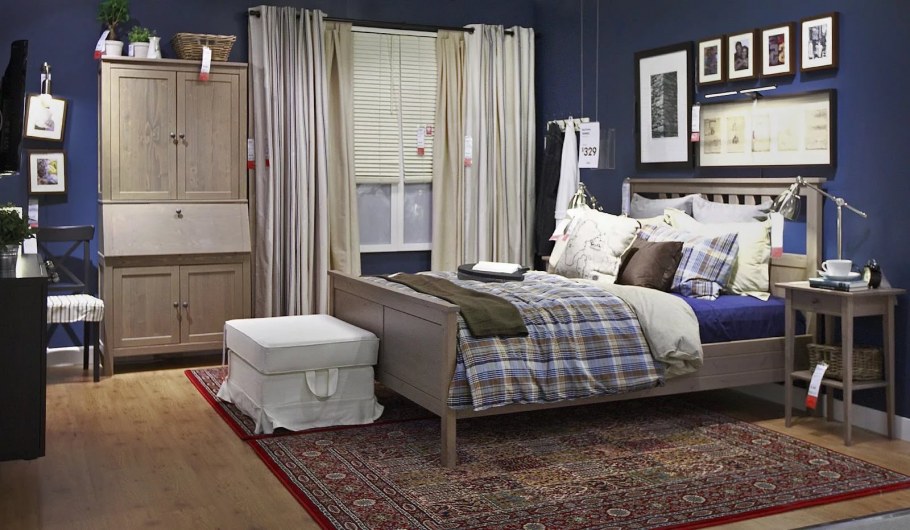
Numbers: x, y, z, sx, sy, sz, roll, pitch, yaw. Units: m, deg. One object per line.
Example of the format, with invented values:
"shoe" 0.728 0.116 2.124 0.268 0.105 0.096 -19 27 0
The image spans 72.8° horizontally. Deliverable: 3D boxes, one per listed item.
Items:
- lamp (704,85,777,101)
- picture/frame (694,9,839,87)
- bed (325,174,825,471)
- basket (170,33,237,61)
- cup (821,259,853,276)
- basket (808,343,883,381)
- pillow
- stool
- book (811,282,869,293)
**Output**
"lamp" 2.456 -1.474 5.324 0.156 0.077 0.631 -4 11 -22
"picture/frame" 2.561 -1.761 5.102 0.093 0.433 1.137 -9 14 -36
"bed" 0.941 0.355 5.057 2.950 1.359 2.611 0 1 -17
"basket" -2.474 -2.112 6.002 0.515 0.236 0.608 -1 1 -17
"cup" 2.765 0.028 4.467 0.186 0.102 0.147 -2 -2 31
"basket" 2.857 0.710 4.559 0.301 0.157 0.365 2 -3 -26
"pillow" 1.782 -0.171 5.210 1.301 0.391 1.084 -1 16 25
"stool" -1.136 0.758 4.735 0.913 0.463 1.031 0 2 -27
"book" 2.723 0.153 4.382 0.351 0.074 0.127 5 12 26
